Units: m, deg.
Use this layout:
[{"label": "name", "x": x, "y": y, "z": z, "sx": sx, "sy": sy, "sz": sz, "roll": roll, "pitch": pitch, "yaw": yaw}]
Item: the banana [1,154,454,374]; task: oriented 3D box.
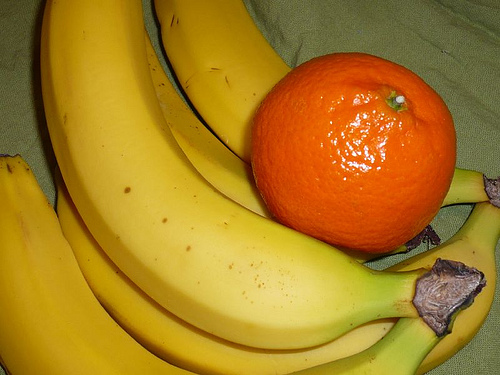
[{"label": "banana", "x": -0.036, "y": 0.118, "z": 0.744, "sx": 0.587, "sy": 0.130, "sz": 0.255, "roll": 18, "pitch": 90, "yaw": -9}]
